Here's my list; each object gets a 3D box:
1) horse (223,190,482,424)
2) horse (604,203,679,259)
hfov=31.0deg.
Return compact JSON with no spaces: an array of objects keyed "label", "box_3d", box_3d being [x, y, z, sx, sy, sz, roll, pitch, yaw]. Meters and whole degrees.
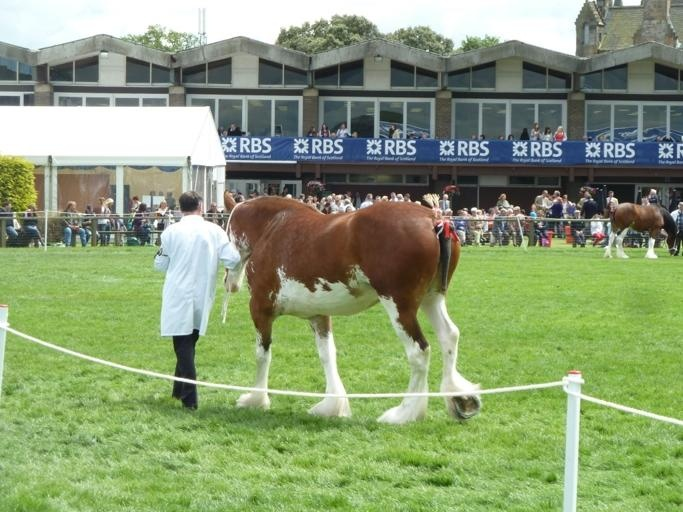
[{"label":"horse","box_3d":[-0.448,1.105,26.878,7.125,5.314,1.908,-2,-4,33]},{"label":"horse","box_3d":[10.873,-0.960,44.460,2.195,1.904,3.037,3,4,28]}]
